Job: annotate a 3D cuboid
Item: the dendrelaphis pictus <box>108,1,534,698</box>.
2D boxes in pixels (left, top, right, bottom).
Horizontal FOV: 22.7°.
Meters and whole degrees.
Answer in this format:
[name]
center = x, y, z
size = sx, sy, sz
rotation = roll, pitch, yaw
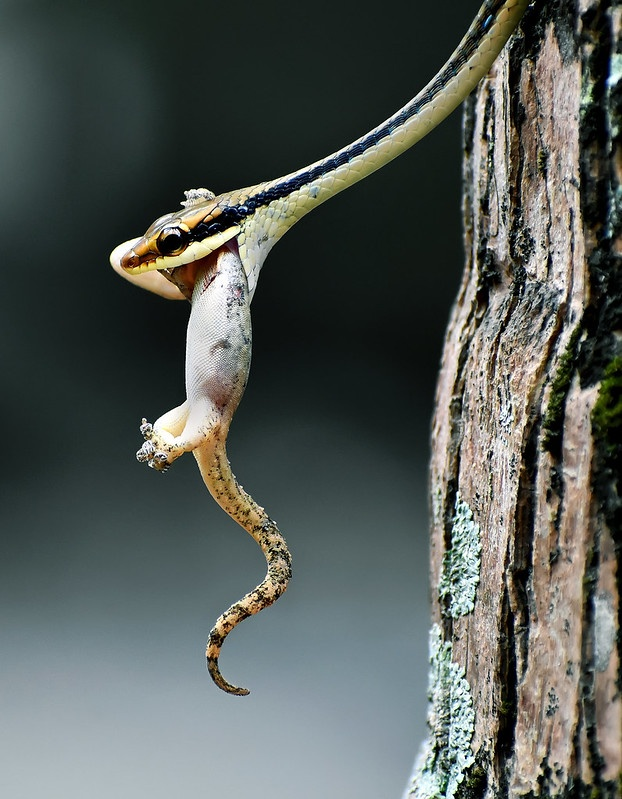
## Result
[dendrelaphis pictus]
center = -0.125, 0.050, 1.743
size = 0.209, 0.535, 0.169
rotation = 2, -6, 10
